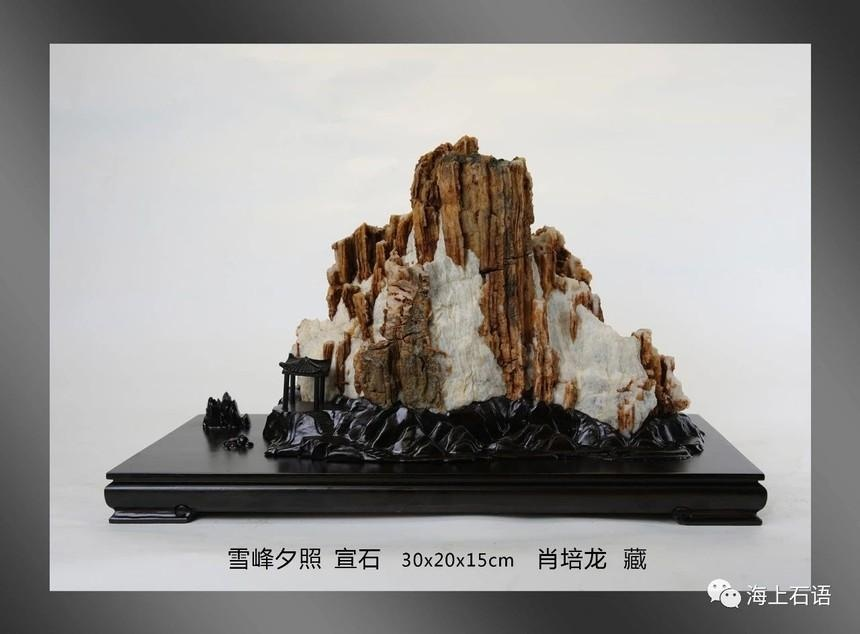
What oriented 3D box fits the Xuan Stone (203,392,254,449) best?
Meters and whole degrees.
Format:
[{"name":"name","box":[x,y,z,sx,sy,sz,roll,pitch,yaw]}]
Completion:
[{"name":"Xuan Stone","box":[-2.284,1.010,15.493,0.504,0.347,0.412,-1,-31,18]}]
